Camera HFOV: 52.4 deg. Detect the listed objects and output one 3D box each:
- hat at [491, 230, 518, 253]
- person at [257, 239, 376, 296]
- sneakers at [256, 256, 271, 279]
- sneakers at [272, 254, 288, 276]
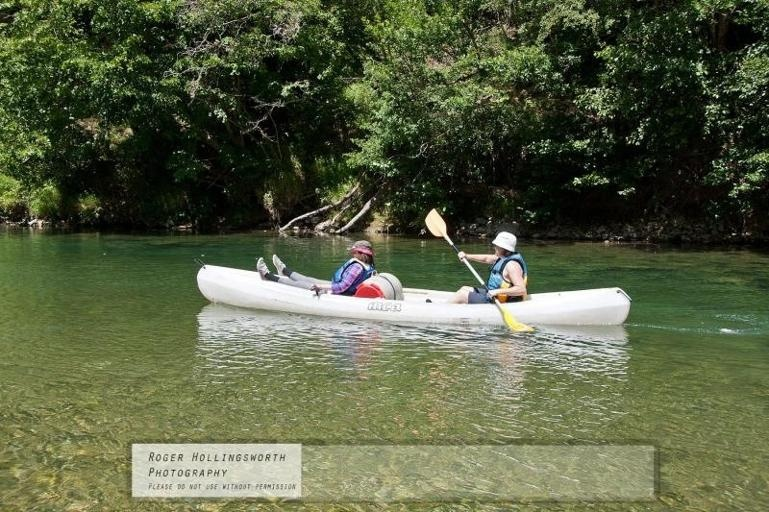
[{"bbox_3d":[2.212,-0.249,13.624,0.463,0.205,0.360,5,13,-43],"label":"hat"},{"bbox_3d":[-1.236,0.201,14.863,2.321,0.962,1.164,6,11,21],"label":"person"},{"bbox_3d":[-2.522,0.245,16.402,0.234,0.509,0.212,0,16,29],"label":"sneakers"},{"bbox_3d":[-2.288,0.199,17.138,0.223,0.537,0.204,-12,10,43],"label":"sneakers"}]
